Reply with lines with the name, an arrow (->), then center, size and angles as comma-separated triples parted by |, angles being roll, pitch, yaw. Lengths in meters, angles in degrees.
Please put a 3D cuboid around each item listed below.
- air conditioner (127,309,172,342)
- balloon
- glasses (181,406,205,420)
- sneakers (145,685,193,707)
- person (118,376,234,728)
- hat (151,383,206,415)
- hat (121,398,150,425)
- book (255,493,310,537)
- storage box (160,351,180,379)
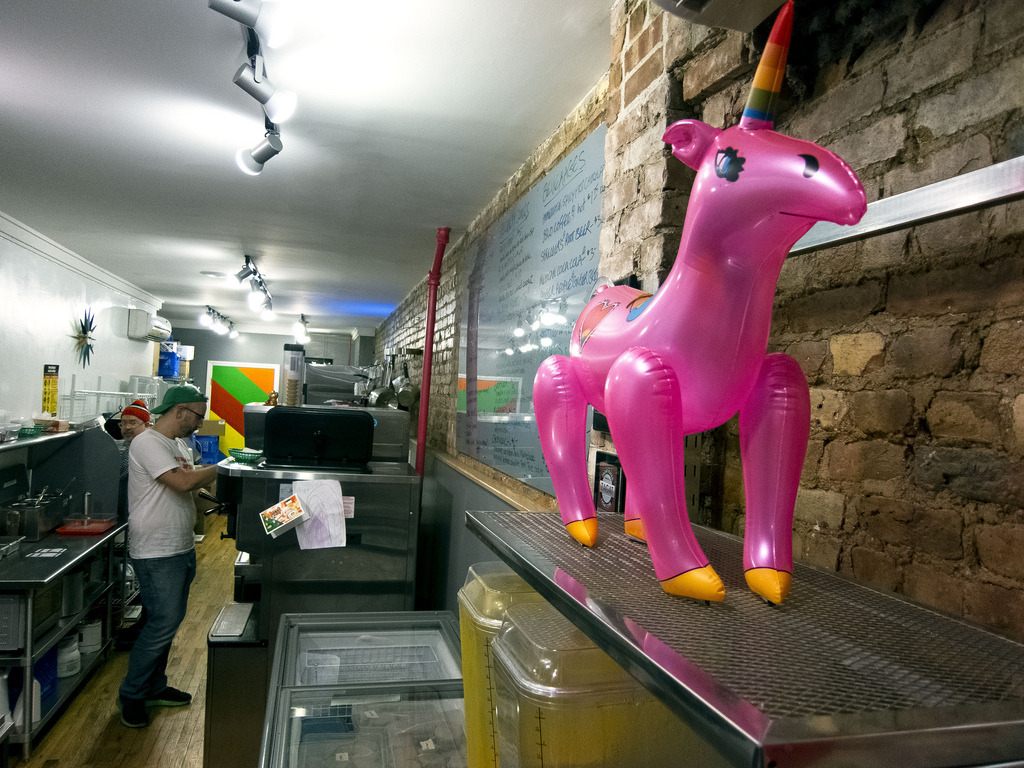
air conditioner -> -3.558, -0.573, 7.076 | 0.260, 0.394, 0.787 | -2, 11, -18
balloon -> 0.238, -0.128, 1.068 | 0.231, 0.806, 0.487 | -8, 14, -41
glasses -> -1.580, 0.142, 3.608 | 0.066, 0.069, 0.021 | 13, 33, -28
sneakers -> -1.617, 1.483, 3.444 | 0.202, 0.084, 0.074 | 5, -4, -17
person -> -1.646, 0.769, 3.454 | 0.460, 1.500, 0.683 | -3, 11, -23
hat -> -1.620, 0.060, 3.562 | 0.255, 0.153, 0.167 | -3, 3, -25
hat -> -2.390, 0.158, 4.646 | 0.155, 0.178, 0.217 | 14, -13, -23
book -> -0.918, 0.544, 2.938 | 0.194, 0.174, 0.166 | -5, 12, -33
storage box -> -3.777, -0.213, 7.981 | 0.196, 0.281, 0.351 | -4, 12, -28
